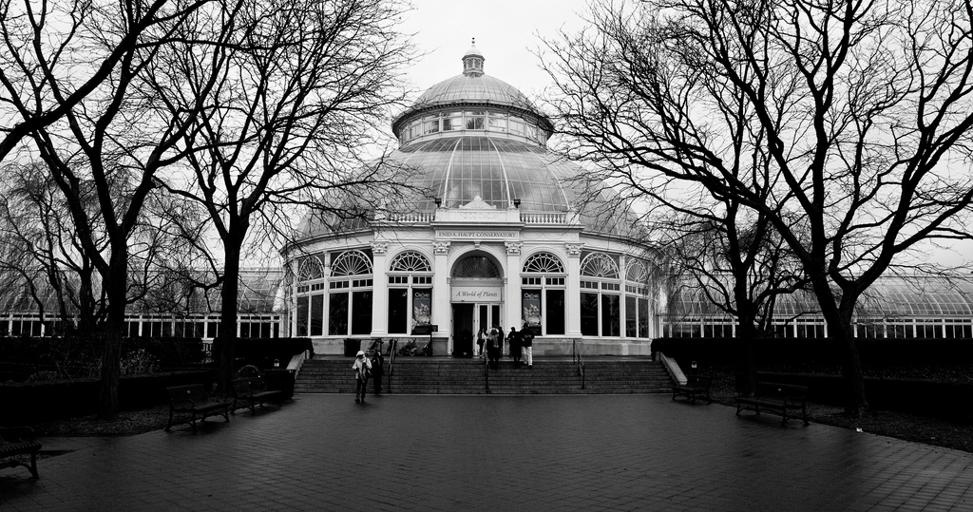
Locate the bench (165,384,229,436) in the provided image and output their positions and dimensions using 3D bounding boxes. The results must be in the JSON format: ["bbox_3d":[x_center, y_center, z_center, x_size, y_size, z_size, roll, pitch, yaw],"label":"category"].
[{"bbox_3d":[-10.522,5.436,27.359,1.756,1.510,2.439,-1,-8,3],"label":"bench"}]

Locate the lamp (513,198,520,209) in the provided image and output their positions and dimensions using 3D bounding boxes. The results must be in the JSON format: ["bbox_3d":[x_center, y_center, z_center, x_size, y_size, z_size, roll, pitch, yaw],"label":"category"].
[{"bbox_3d":[2.160,-3.764,53.917,0.721,0.884,0.595,0,-45,2],"label":"lamp"}]

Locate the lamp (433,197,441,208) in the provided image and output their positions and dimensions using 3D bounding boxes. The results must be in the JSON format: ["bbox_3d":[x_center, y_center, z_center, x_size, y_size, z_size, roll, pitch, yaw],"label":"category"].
[{"bbox_3d":[-3.395,-3.863,53.453,0.743,0.747,0.687,0,-18,2],"label":"lamp"}]
